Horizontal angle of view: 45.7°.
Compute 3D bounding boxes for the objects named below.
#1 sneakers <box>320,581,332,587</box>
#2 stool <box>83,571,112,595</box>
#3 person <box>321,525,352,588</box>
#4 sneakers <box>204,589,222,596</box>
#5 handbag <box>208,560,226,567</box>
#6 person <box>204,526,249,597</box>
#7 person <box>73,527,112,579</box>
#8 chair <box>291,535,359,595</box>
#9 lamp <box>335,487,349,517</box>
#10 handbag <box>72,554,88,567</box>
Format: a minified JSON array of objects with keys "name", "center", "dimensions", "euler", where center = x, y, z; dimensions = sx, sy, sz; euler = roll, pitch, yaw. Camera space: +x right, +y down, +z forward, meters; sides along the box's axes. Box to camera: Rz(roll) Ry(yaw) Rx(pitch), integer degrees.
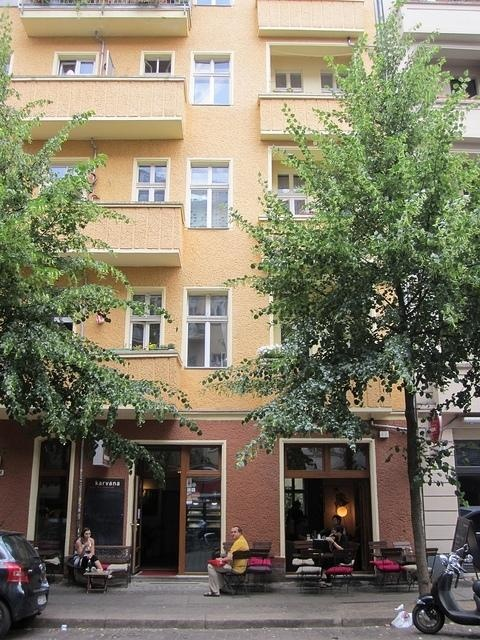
[{"name":"sneakers","center":[1.795,5.513,11.976],"dimensions":[0.238,0.100,0.292],"euler":[5,-15,-1]},{"name":"stool","center":[-2.774,5.012,11.007],"dimensions":[0.573,0.404,0.735],"euler":[0,-8,-3]},{"name":"person","center":[2.004,5.096,12.724],"dimensions":[0.412,1.160,0.369],"euler":[12,1,-18]},{"name":"sneakers","center":[-0.517,5.134,10.743],"dimensions":[0.335,0.125,0.114],"euler":[2,-19,0]},{"name":"handbag","center":[-0.435,4.496,10.552],"dimensions":[0.223,0.189,0.077],"euler":[2,21,2]},{"name":"person","center":[-0.215,4.592,10.768],"dimensions":[0.972,1.257,0.691],"euler":[-12,-18,37]},{"name":"person","center":[-2.908,4.570,11.239],"dimensions":[0.427,0.773,1.186],"euler":[3,-10,-39]},{"name":"chair","center":[1.775,5.121,12.007],"dimensions":[1.336,1.080,2.464],"euler":[-2,-13,4]},{"name":"lamp","center":[2.685,4.843,15.002],"dimensions":[0.390,0.763,0.244],"euler":[12,-20,-42]},{"name":"handbag","center":[-3.136,4.730,11.251],"dimensions":[0.226,0.139,0.346],"euler":[-2,-8,-7]}]
